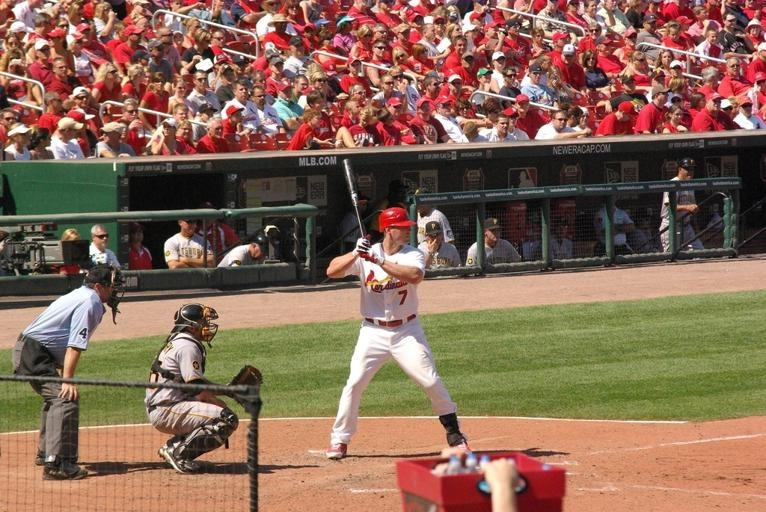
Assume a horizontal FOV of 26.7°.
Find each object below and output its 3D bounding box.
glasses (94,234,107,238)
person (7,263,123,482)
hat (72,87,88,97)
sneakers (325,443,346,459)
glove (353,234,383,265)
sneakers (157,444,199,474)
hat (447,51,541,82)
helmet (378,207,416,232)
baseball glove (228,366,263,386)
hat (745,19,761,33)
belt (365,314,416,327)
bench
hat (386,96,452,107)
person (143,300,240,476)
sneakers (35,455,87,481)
[{"bbox_3d":[-4.855,-0.279,27.944,0.225,0.091,0.087,-1,2,-36],"label":"glasses"},{"bbox_3d":[-4.299,1.630,21.932,1.419,2.894,0.703,-1,2,-12],"label":"person"},{"bbox_3d":[-5.518,-2.955,29.462,0.286,0.166,0.250,-1,1,-11],"label":"hat"},{"bbox_3d":[-0.616,2.760,22.271,0.141,0.149,0.347,1,-6,20],"label":"sneakers"},{"bbox_3d":[-0.196,-0.009,21.917,0.379,0.351,0.156,22,-38,-39],"label":"glove"},{"bbox_3d":[-2.781,2.853,21.921,0.679,0.283,0.260,17,33,25],"label":"sneakers"},{"bbox_3d":[2.340,-3.918,33.886,1.166,0.428,0.325,-10,35,-11],"label":"hat"},{"bbox_3d":[0.217,-0.457,22.252,0.481,0.228,0.324,-3,5,15],"label":"helmet"},{"bbox_3d":[-1.852,1.681,21.968,0.370,0.278,0.607,0,1,11],"label":"baseball glove"},{"bbox_3d":[9.273,-5.638,39.719,0.398,0.163,0.393,-2,4,8],"label":"hat"},{"bbox_3d":[0.137,0.943,22.156,0.728,0.191,0.202,0,1,-2],"label":"belt"},{"bbox_3d":[4.942,-0.292,31.180,6.230,0.791,0.427,-1,2,-21],"label":"bench"},{"bbox_3d":[0.884,-3.004,31.697,0.577,0.151,0.549,-1,-2,-24],"label":"hat"},{"bbox_3d":[-2.615,1.851,21.972,1.214,2.278,0.798,0,2,5],"label":"person"},{"bbox_3d":[-4.361,2.927,21.874,0.675,0.278,0.253,-1,4,-6],"label":"sneakers"}]
